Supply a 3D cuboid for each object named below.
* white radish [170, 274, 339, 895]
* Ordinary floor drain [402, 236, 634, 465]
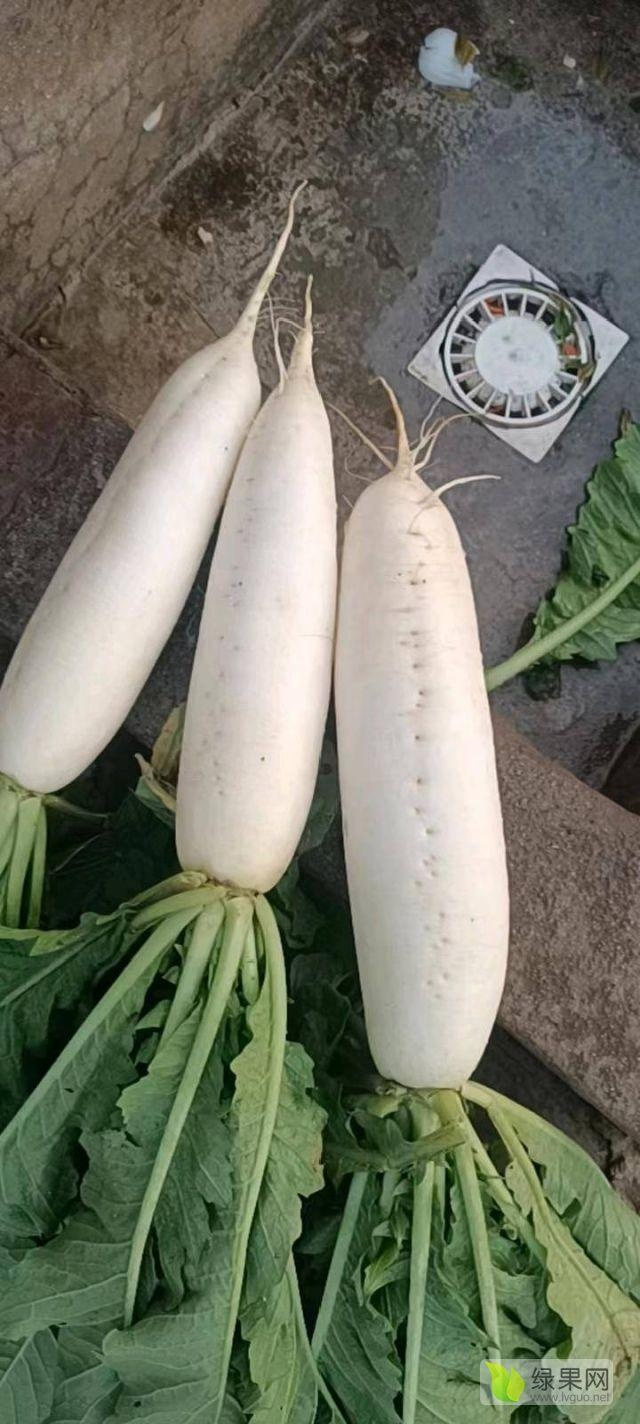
[{"bbox_3d":[-0.074,-0.174,1.298,0.121,0.152,0.761,5,75,-4],"label":"white radish"},{"bbox_3d":[0.319,-0.603,1.844,0.342,0.072,0.361,38,87,5],"label":"Ordinary floor drain"}]
